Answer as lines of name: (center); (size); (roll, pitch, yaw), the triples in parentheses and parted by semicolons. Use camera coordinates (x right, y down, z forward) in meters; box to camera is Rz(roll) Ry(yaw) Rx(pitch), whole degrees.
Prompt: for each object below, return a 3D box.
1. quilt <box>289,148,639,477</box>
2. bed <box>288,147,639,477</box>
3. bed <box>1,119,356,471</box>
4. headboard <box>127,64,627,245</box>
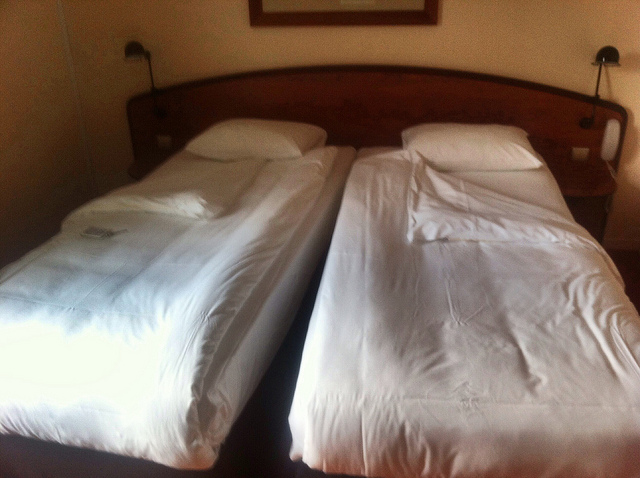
quilt: (0.544, 0.215, 1.914); (0.815, 0.378, 1.234); (2, 46, 8)
bed: (0.532, -0.117, 1.668); (0.820, 0.371, 1.339); (1, 45, 9)
bed: (-0.506, 0.136, 2.196); (0.841, 0.383, 1.570); (4, 40, 14)
headboard: (0.317, -0.340, 3.387); (3.062, 1.362, 0.786); (1, -6, 0)
